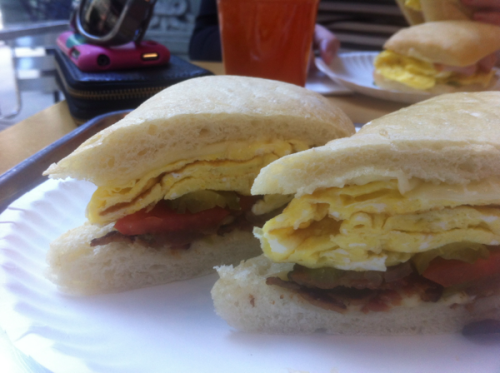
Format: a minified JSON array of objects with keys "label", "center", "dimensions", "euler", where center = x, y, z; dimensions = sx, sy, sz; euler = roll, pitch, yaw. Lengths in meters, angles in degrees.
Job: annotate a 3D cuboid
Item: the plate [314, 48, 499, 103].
[{"label":"plate","center":[0.657,-0.589,3.093],"dimensions":[0.645,0.071,0.632],"euler":[-20,27,-38]}]
